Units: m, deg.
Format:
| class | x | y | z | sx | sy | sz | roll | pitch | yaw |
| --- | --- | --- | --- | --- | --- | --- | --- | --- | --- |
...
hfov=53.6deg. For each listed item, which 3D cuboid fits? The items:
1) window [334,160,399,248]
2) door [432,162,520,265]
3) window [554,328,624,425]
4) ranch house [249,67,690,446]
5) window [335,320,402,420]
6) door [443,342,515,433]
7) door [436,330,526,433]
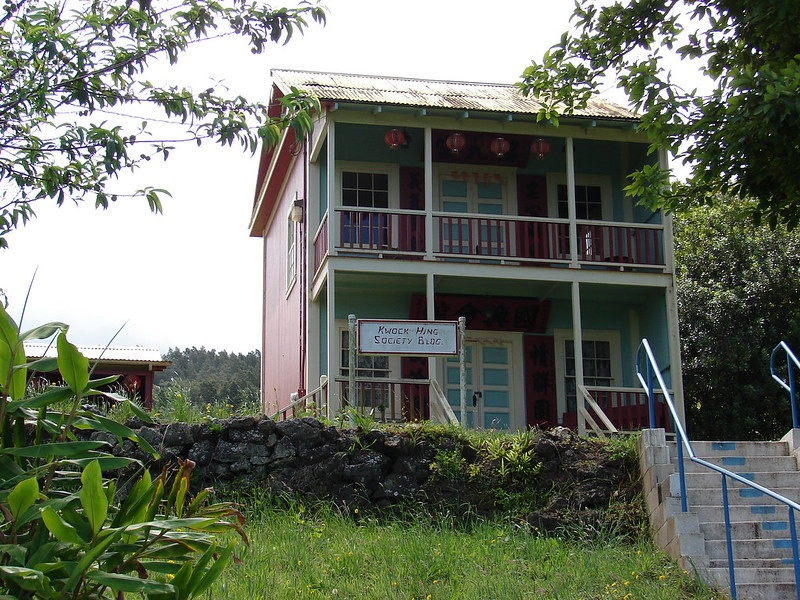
| class | x | y | z | sx | sy | sz | roll | pitch | yaw |
| --- | --- | --- | --- | --- | --- | --- | --- | --- | --- |
| window | -0.717 | -1.728 | 14.765 | 0.979 | 0.092 | 2.185 | 2 | -36 | -1 |
| door | 1.463 | -1.240 | 15.630 | 1.503 | 0.266 | 3.279 | 3 | -53 | 11 |
| window | 3.635 | 1.415 | 15.214 | 1.114 | 2.321 | 0.134 | -1 | -54 | 11 |
| ranch house | 1.326 | -0.647 | 16.411 | 6.776 | 8.154 | 6.439 | 1 | -12 | -3 |
| window | -0.729 | 1.388 | 13.977 | 1.084 | 1.816 | 0.134 | 2 | -56 | -7 |
| door | 1.472 | 1.592 | 14.900 | 1.409 | 0.251 | 2.444 | 2 | -51 | 10 |
| door | 1.465 | 1.608 | 14.842 | 1.491 | 2.327 | 0.216 | 2 | -47 | 3 |
